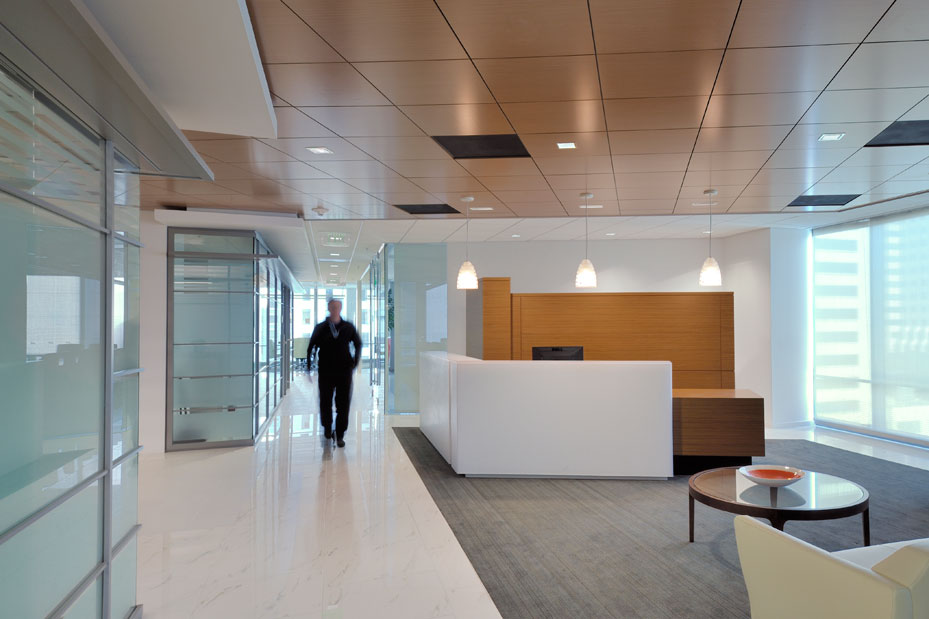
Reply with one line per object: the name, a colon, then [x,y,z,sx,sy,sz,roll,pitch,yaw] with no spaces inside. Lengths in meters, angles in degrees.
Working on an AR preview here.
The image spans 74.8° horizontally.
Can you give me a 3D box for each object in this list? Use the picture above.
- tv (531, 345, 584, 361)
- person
tv: [1.358,0.636,8.757,0.687,0.158,0.855,0,2,1]
person: [-2.015,0.951,9.397,0.784,2.258,0.739,-1,3,-14]
